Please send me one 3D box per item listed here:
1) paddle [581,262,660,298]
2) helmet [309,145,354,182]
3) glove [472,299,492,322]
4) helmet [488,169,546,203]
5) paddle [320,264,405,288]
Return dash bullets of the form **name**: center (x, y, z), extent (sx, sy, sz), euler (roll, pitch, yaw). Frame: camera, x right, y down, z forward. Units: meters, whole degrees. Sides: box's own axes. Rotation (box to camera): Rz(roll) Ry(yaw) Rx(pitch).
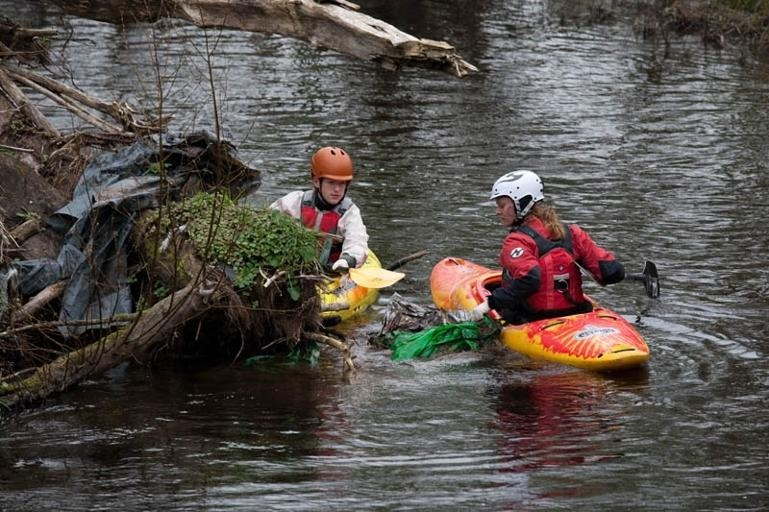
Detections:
- **paddle**: center (3.253, 0.307, 15.450), extent (0.779, 0.251, 0.417), euler (0, 10, -22)
- **helmet**: center (-0.631, -1.218, 14.616), extent (0.622, 0.288, 0.671), euler (-9, 24, -12)
- **glove**: center (1.185, 0.693, 14.230), extent (0.319, 0.095, 0.202), euler (-27, 19, 29)
- **helmet**: center (1.530, -0.873, 14.194), extent (0.835, 0.300, 0.498), euler (-4, 21, -28)
- **paddle**: center (-0.171, 0.273, 14.051), extent (0.732, 0.218, 0.455), euler (1, 5, -2)
